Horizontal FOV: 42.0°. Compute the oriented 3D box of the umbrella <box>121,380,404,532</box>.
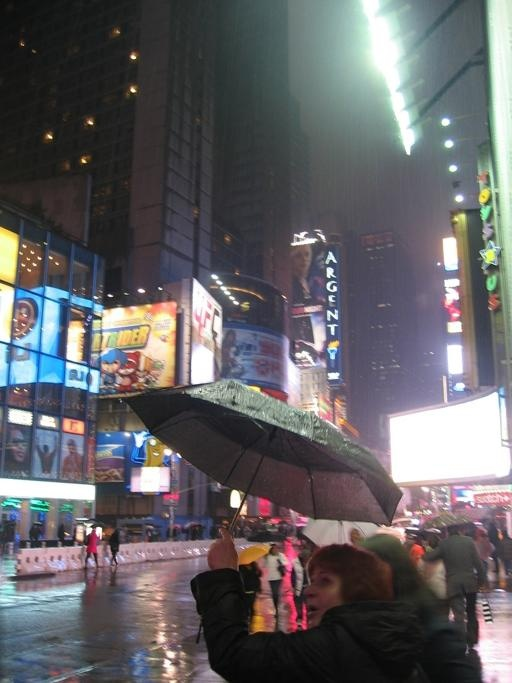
[{"bbox_3d":[-0.023,0.678,3.799,1.257,0.796,1.572,-8,-12,34],"label":"umbrella"}]
